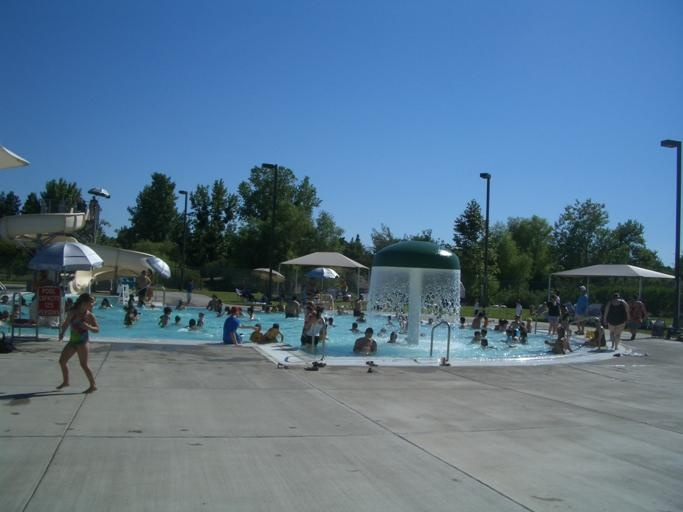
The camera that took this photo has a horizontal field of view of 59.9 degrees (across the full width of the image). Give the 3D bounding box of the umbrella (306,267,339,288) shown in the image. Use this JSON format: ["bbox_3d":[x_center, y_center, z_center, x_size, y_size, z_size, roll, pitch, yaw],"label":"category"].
[{"bbox_3d":[-1.033,1.153,33.246,1.121,0.880,1.124,4,-1,30],"label":"umbrella"}]

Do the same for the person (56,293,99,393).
[{"bbox_3d":[-4.580,1.419,10.285,0.617,1.603,1.274,2,1,-25],"label":"person"}]

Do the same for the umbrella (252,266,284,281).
[{"bbox_3d":[-5.449,1.431,44.540,1.595,0.623,1.673,20,-11,-18],"label":"umbrella"}]
